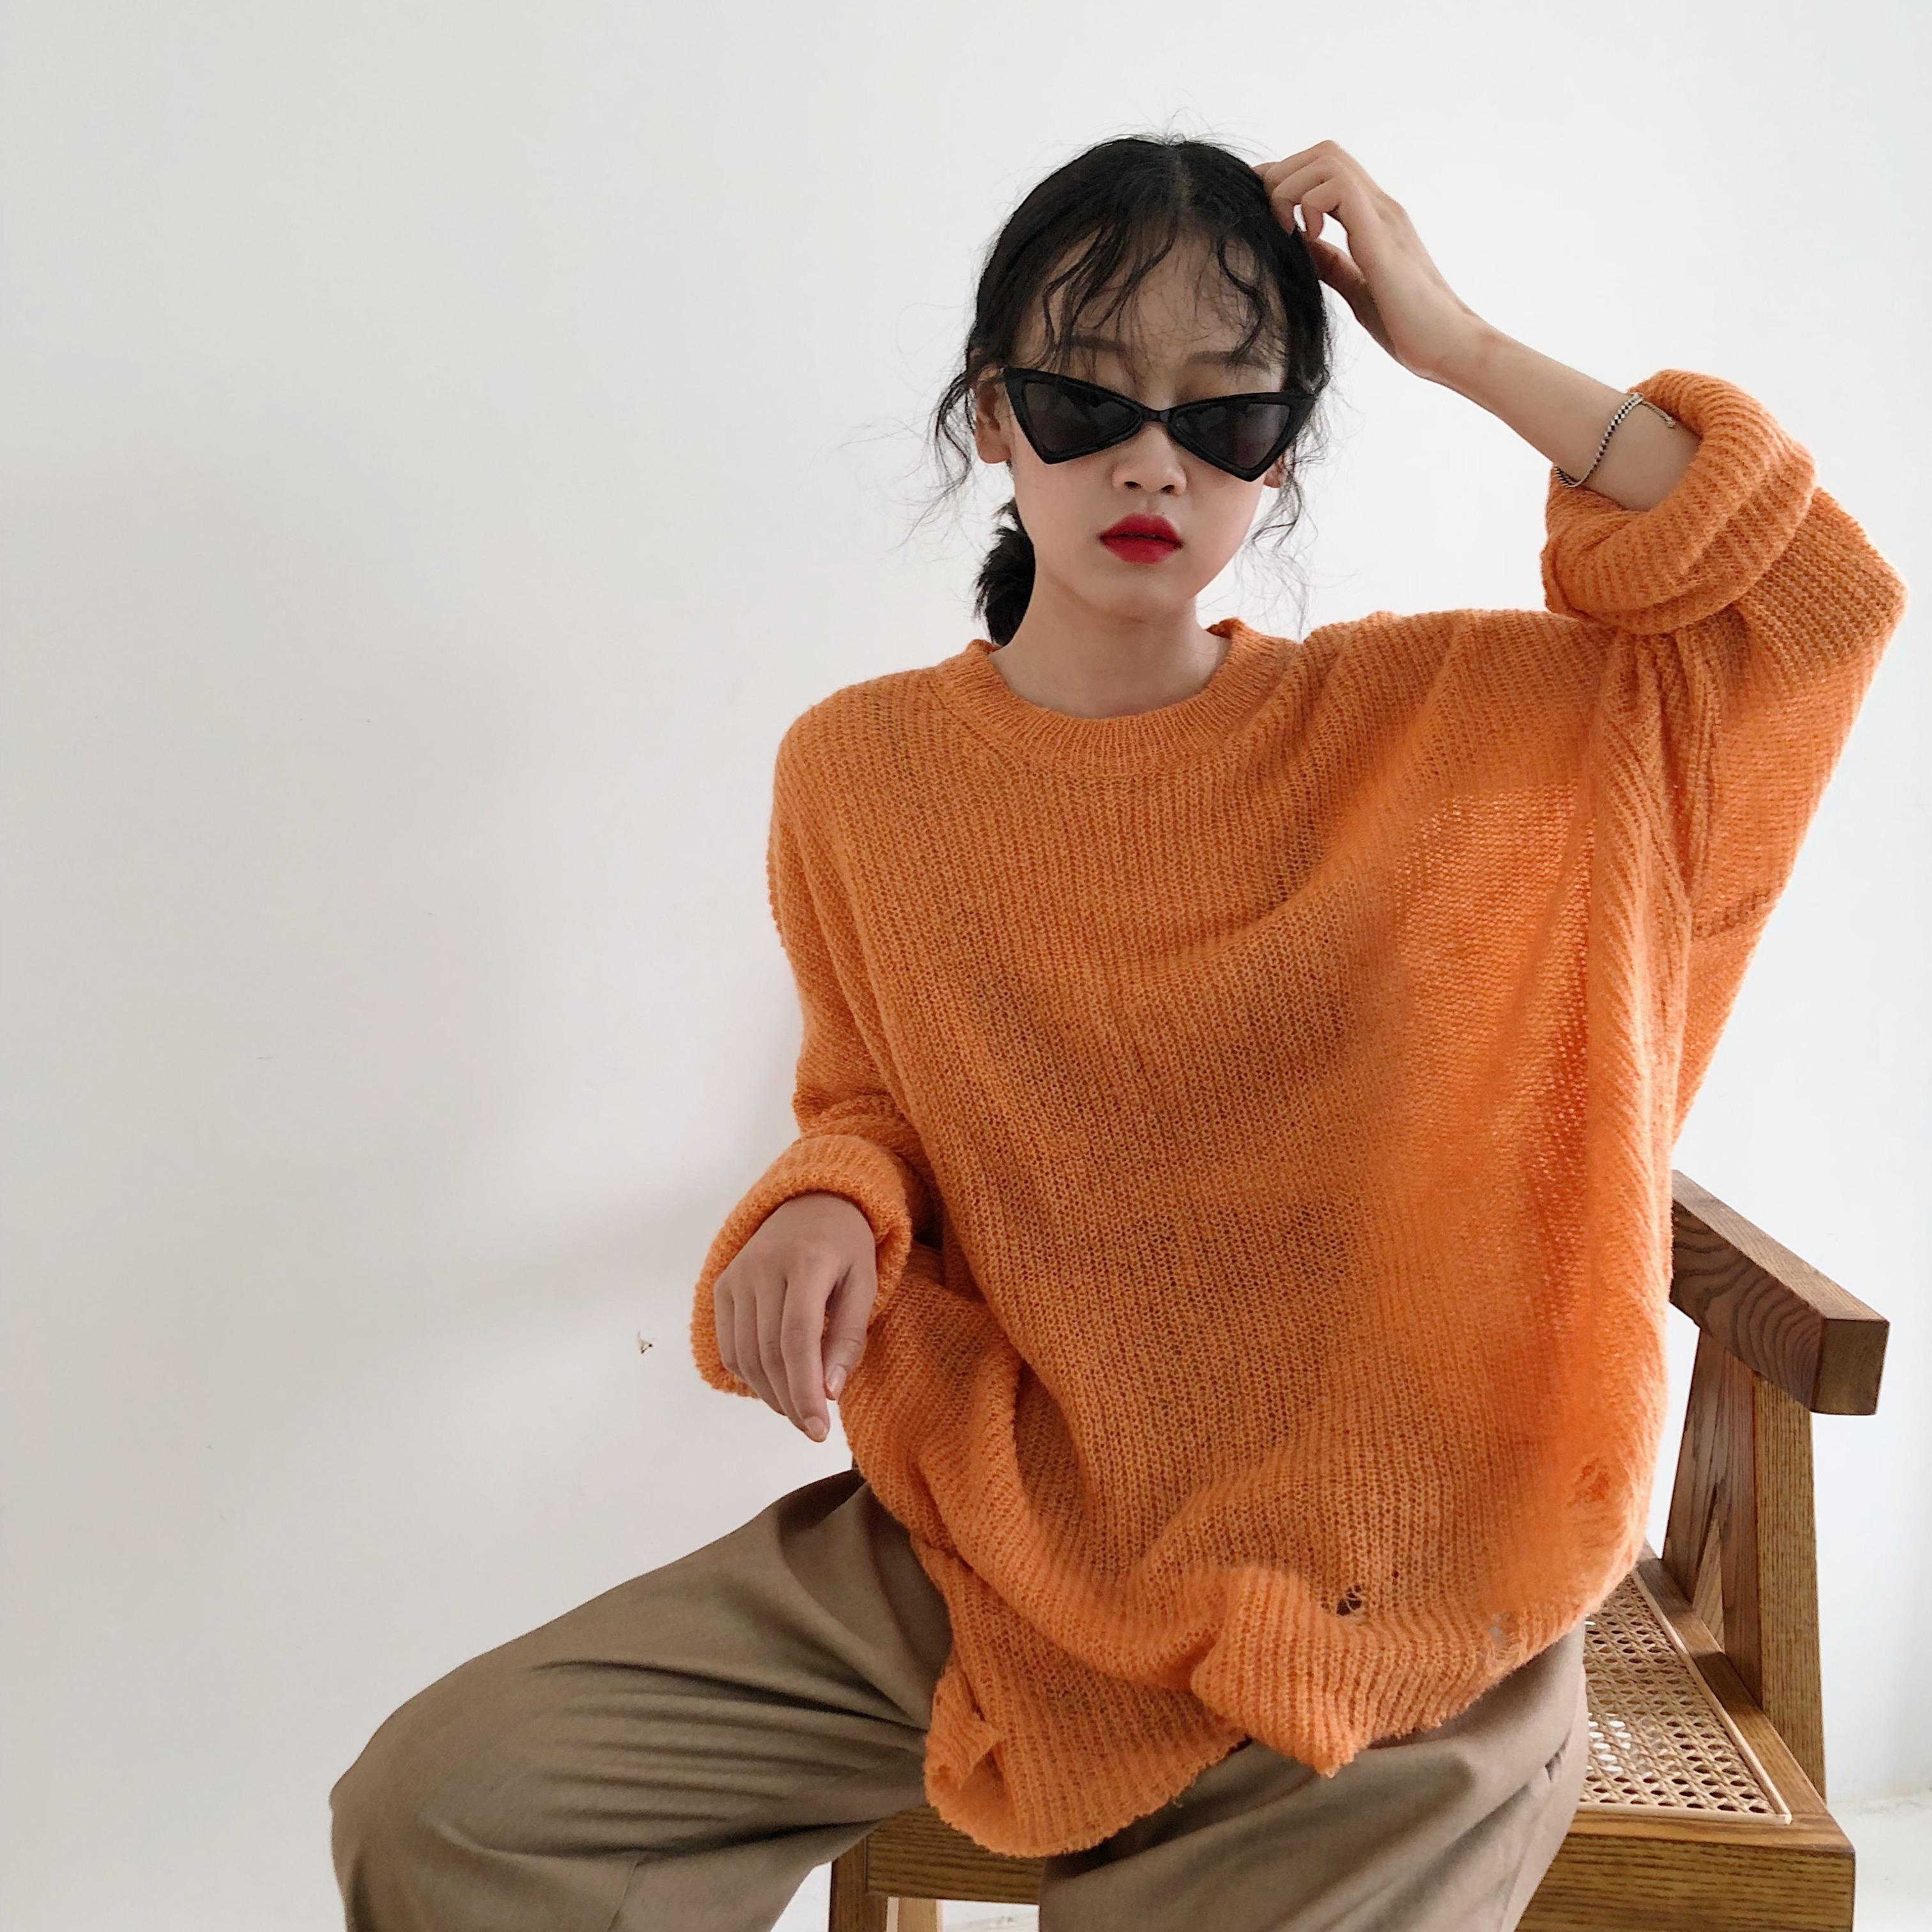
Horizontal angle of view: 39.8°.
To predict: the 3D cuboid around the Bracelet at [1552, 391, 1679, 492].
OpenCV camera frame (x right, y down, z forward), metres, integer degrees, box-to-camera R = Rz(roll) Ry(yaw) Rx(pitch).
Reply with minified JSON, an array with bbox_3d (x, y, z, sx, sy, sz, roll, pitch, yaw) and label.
[{"bbox_3d":[0.361,-0.294,1.490,0.069,0.014,0.061,-33,-32,28],"label":"Bracelet"}]
